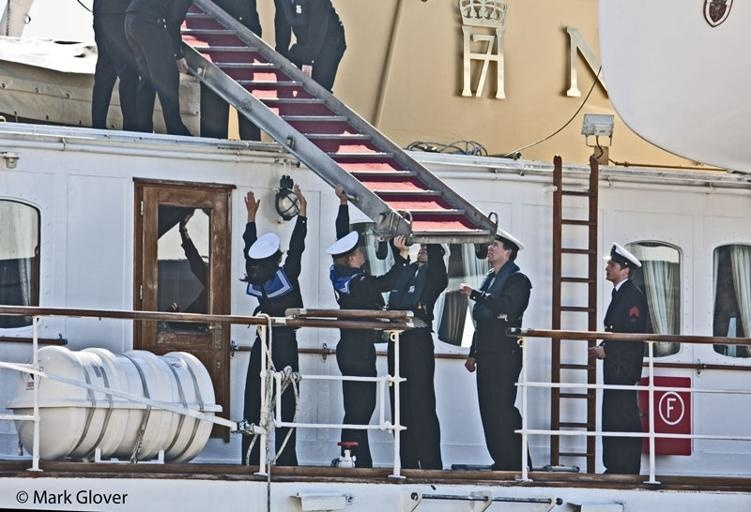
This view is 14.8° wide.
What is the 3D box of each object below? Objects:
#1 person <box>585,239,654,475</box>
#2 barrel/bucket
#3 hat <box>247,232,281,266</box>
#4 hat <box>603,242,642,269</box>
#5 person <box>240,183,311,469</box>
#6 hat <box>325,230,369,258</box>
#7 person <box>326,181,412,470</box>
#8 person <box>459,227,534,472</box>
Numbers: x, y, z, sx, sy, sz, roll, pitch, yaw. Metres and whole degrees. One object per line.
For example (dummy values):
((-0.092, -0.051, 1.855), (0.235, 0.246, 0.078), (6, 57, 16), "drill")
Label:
((2.810, 1.131, 32.667), (0.550, 2.661, 0.623), (8, -11, -26), "person")
((-2.891, 1.558, 31.078), (2.001, 1.078, 1.250), (5, -2, -35), "barrel/bucket")
((-1.249, -0.118, 32.020), (0.336, 0.331, 0.212), (3, -10, -3), "hat")
((2.855, 0.000, 32.812), (0.364, 0.136, 0.268), (23, 1, -6), "hat")
((-1.166, 0.727, 32.040), (0.772, 3.210, 0.761), (4, -10, -2), "person")
((-0.333, -0.122, 31.973), (0.332, 0.074, 0.282), (-21, 17, 18), "hat")
((-0.206, 0.856, 31.950), (0.736, 2.995, 0.780), (4, -10, -1), "person")
((1.442, 1.052, 32.288), (0.749, 2.703, 0.707), (3, -10, 2), "person")
